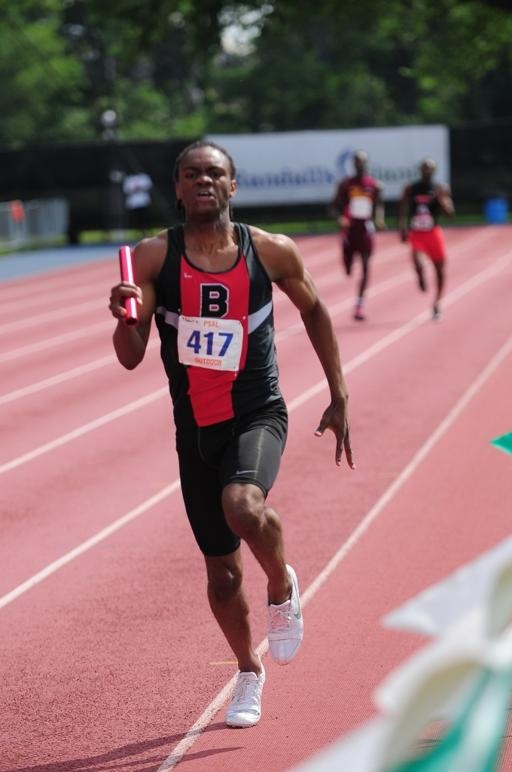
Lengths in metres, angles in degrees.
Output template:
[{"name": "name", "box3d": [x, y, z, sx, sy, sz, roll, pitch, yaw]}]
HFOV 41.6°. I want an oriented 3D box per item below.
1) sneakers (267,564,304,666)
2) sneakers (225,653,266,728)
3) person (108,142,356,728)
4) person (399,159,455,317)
[{"name": "sneakers", "box3d": [0.093, 0.757, 2.242, 0.120, 0.321, 0.135, -5, 0, 18]}, {"name": "sneakers", "box3d": [-0.037, 1.026, 2.251, 0.079, 0.080, 0.210, 1, 23, 8]}, {"name": "person", "box3d": [-0.051, 0.148, 2.264, 0.523, 1.906, 0.688, 3, 14, 32]}, {"name": "person", "box3d": [2.031, -1.725, 8.022, 0.612, 1.840, 1.039, -2, 12, 11]}]
